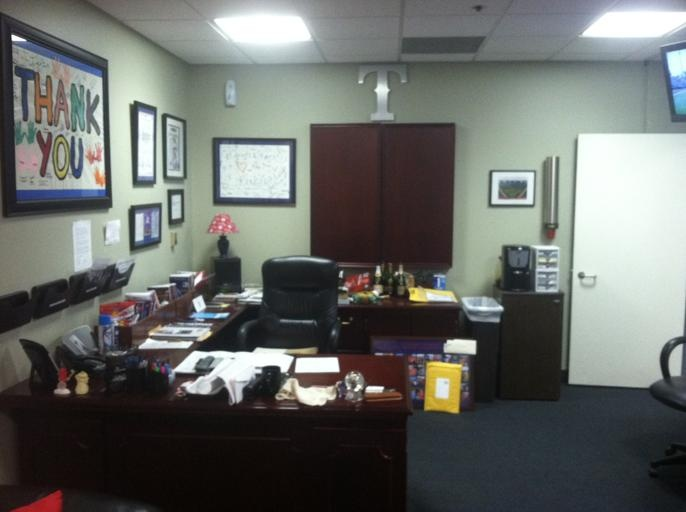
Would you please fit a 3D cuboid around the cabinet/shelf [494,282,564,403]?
[{"bbox_3d":[1.670,0.809,4.870,0.528,0.950,0.195,1,14,5],"label":"cabinet/shelf"}]

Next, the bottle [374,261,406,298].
[{"bbox_3d":[0.432,0.226,5.051,0.293,0.343,0.105,2,6,13],"label":"bottle"}]

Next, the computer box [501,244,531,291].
[{"bbox_3d":[1.605,0.161,5.049,0.253,0.420,0.340,3,-13,5],"label":"computer box"}]

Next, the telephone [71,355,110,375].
[{"bbox_3d":[-1.523,0.656,3.303,0.189,0.071,0.144,0,-3,10],"label":"telephone"}]

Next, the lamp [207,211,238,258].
[{"bbox_3d":[-1.141,-0.190,5.211,0.278,0.437,0.392,-4,15,-13],"label":"lamp"}]

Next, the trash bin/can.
[{"bbox_3d":[1.229,0.855,4.811,0.407,1.028,0.889,0,2,6],"label":"trash bin/can"}]

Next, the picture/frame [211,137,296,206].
[{"bbox_3d":[-0.843,-0.845,5.255,0.626,0.487,0.029,1,5,1],"label":"picture/frame"}]

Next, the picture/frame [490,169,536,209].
[{"bbox_3d":[1.611,-0.651,5.150,0.350,0.307,0.035,0,9,3],"label":"picture/frame"}]

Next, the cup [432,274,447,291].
[{"bbox_3d":[0.896,0.237,5.175,0.162,0.233,0.122,0,1,4],"label":"cup"}]

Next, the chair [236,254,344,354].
[{"bbox_3d":[-0.361,0.351,4.668,0.712,0.987,0.797,1,3,5],"label":"chair"}]
